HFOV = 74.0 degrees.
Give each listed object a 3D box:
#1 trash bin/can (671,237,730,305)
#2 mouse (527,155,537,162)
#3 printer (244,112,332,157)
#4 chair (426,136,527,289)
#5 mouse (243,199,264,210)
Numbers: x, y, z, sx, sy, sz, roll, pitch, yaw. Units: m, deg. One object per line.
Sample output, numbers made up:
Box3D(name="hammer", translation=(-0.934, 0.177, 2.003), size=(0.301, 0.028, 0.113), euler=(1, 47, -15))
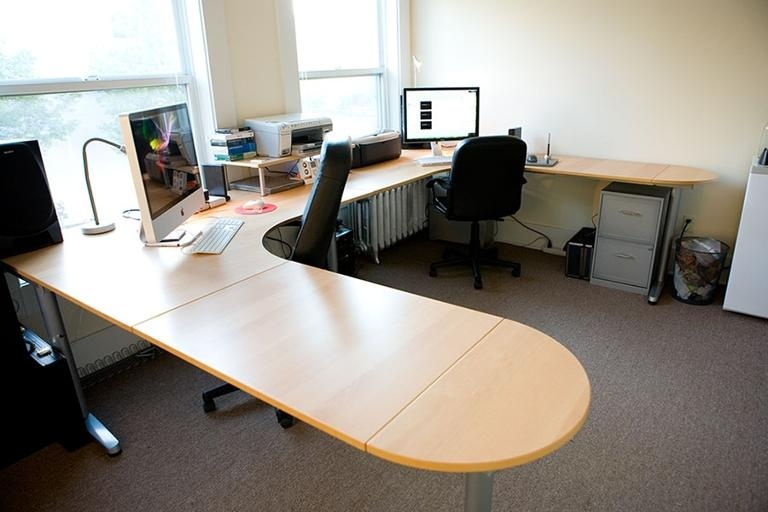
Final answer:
Box3D(name="trash bin/can", translation=(2.365, 0.122, 3.805), size=(0.299, 0.471, 0.361), euler=(0, 23, 6))
Box3D(name="mouse", translation=(1.204, -0.794, 4.138), size=(0.056, 0.020, 0.081), euler=(2, 25, 12))
Box3D(name="printer", translation=(-0.679, -0.904, 3.796), size=(0.401, 0.249, 0.523), euler=(11, 24, 31))
Box3D(name="chair", translation=(0.750, -0.420, 4.185), size=(0.799, 1.160, 0.846), euler=(9, 20, 28))
Box3D(name="mouse", translation=(-0.822, -0.329, 3.247), size=(0.085, 0.023, 0.086), euler=(-1, 22, 0))
